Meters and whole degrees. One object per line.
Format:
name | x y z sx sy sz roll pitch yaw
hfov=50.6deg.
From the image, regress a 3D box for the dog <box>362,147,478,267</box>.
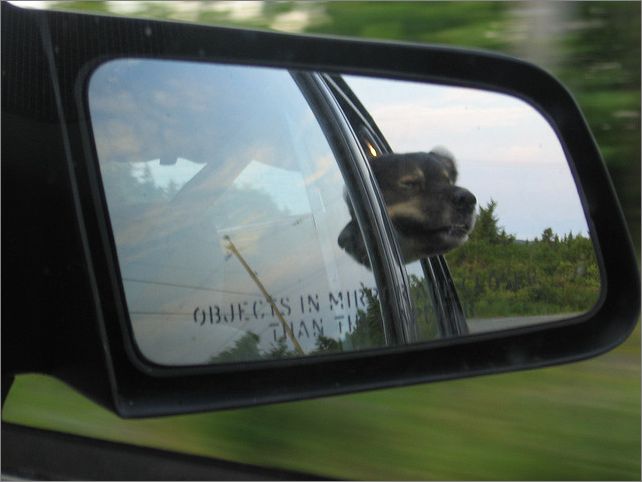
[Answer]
dog | 0.277 -0.105 1.849 0.364 0.197 0.264 10 88 28
